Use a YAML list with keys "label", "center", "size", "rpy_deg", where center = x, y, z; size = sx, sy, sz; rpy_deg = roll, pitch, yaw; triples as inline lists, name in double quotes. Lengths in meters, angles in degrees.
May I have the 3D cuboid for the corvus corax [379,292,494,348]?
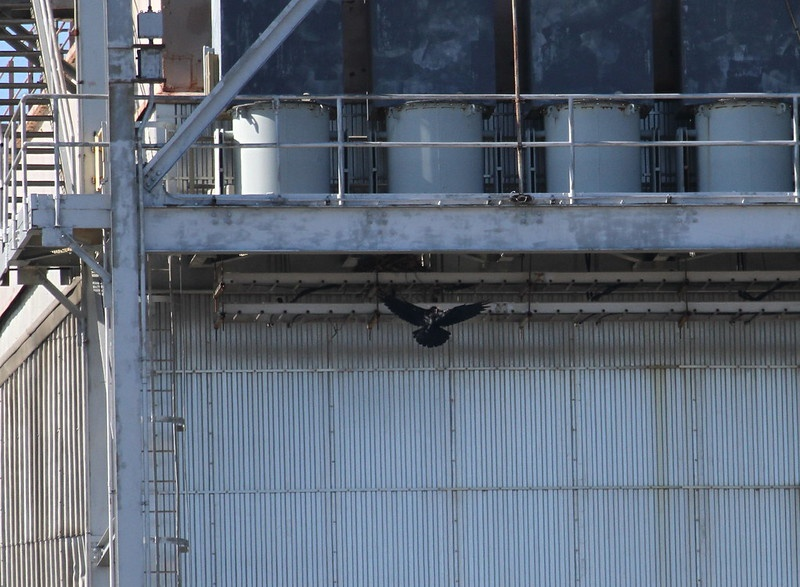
- label: "corvus corax"
  center: [0.626, 0.636, 59.477]
  size: [2.368, 0.840, 0.808]
  rpy_deg: [4, -54, 11]
